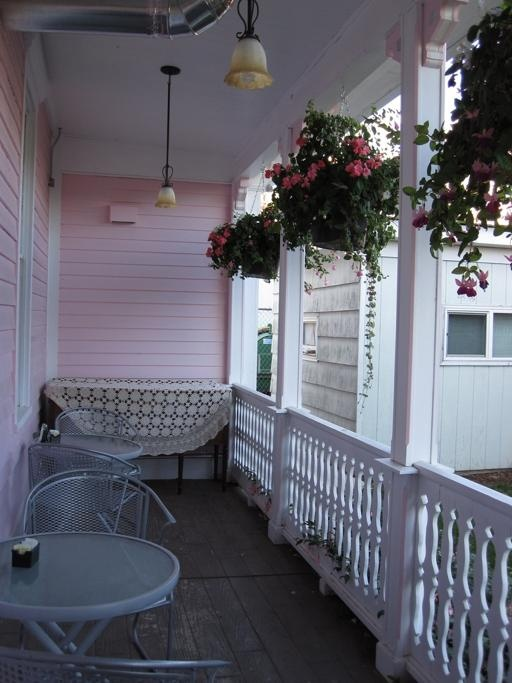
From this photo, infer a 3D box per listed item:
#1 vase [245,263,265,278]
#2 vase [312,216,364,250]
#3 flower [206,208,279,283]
[{"bbox_3d":[0.006,-0.508,3.799,0.089,0.074,0.096,-1,2,20],"label":"vase"},{"bbox_3d":[0.339,-0.449,2.216,0.156,0.075,0.136,2,4,20],"label":"vase"},{"bbox_3d":[-0.047,-0.696,3.926,0.508,0.395,0.532,-3,5,1],"label":"flower"}]
